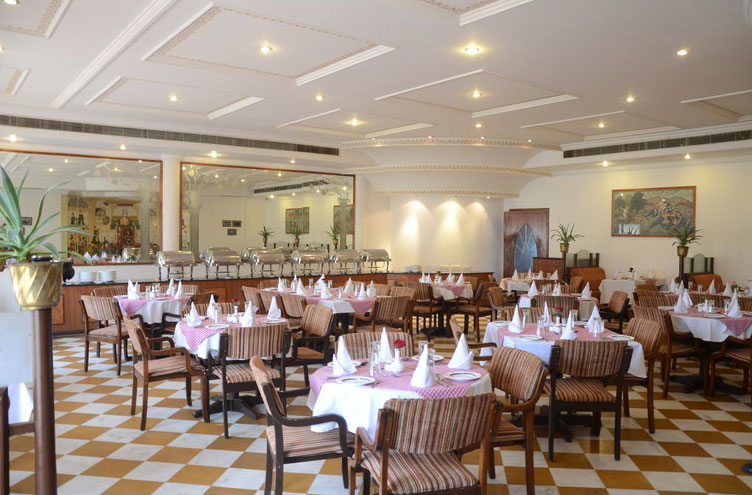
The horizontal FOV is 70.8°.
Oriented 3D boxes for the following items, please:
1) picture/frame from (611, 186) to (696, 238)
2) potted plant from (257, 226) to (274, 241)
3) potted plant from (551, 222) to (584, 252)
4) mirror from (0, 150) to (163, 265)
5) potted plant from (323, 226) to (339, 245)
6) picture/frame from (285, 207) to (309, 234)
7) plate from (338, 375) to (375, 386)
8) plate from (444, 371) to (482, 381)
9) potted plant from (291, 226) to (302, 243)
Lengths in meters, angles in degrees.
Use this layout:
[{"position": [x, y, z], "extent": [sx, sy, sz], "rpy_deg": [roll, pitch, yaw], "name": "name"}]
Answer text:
[{"position": [6.938, -0.898, 13.094], "extent": [1.331, 0.934, 0.054], "rpy_deg": [1, 3, 44], "name": "picture/frame"}, {"position": [-2.801, -0.368, 13.445], "extent": [0.319, 0.329, 0.329], "rpy_deg": [-2, -2, 38], "name": "potted plant"}, {"position": [5.190, -0.277, 14.385], "extent": [0.784, 0.684, 0.790], "rpy_deg": [-1, 1, 24], "name": "potted plant"}, {"position": [-5.344, -0.802, 9.621], "extent": [2.489, 1.772, 0.097], "rpy_deg": [-1, 1, -30], "name": "mirror"}, {"position": [-1.174, -0.357, 14.523], "extent": [0.449, 0.491, 0.485], "rpy_deg": [-9, 8, -27], "name": "potted plant"}, {"position": [-2.099, -0.738, 13.882], "extent": [0.705, 0.706, 0.051], "rpy_deg": [0, 0, -40], "name": "picture/frame"}, {"position": [-0.187, 1.256, 5.027], "extent": [0.337, 0.041, 0.249], "rpy_deg": [1, 1, -5], "name": "plate"}, {"position": [0.841, 1.251, 5.149], "extent": [0.337, 0.053, 0.228], "rpy_deg": [1, 1, 11], "name": "plate"}, {"position": [-2.086, -0.328, 13.970], "extent": [0.338, 0.617, 0.338], "rpy_deg": [-3, 6, -8], "name": "potted plant"}]
